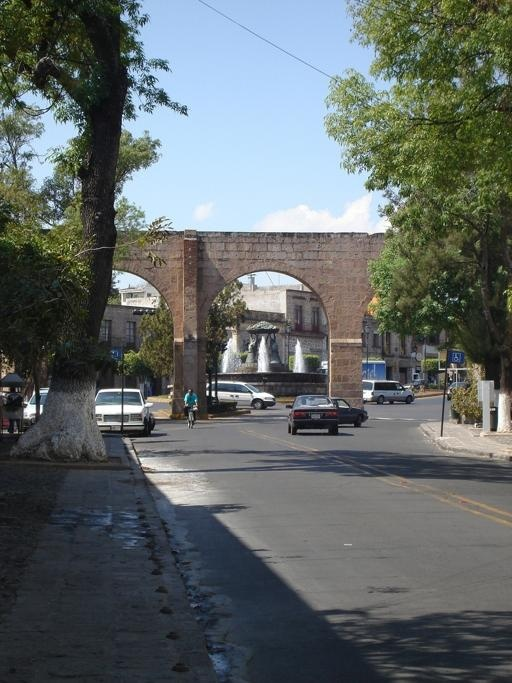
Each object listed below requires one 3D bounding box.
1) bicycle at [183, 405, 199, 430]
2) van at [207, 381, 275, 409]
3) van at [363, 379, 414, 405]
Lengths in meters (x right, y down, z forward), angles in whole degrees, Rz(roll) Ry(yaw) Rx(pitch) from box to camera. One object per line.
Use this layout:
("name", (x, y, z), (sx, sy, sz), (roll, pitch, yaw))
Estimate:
("bicycle", (-2.188, 2.532, 32.099), (0.460, 0.651, 1.064), (0, -5, -6))
("van", (-1.083, 3.163, 55.570), (3.828, 1.507, 1.757), (-1, -2, 23))
("van", (8.399, 3.243, 60.977), (3.110, 1.446, 1.765), (-1, 2, -20))
